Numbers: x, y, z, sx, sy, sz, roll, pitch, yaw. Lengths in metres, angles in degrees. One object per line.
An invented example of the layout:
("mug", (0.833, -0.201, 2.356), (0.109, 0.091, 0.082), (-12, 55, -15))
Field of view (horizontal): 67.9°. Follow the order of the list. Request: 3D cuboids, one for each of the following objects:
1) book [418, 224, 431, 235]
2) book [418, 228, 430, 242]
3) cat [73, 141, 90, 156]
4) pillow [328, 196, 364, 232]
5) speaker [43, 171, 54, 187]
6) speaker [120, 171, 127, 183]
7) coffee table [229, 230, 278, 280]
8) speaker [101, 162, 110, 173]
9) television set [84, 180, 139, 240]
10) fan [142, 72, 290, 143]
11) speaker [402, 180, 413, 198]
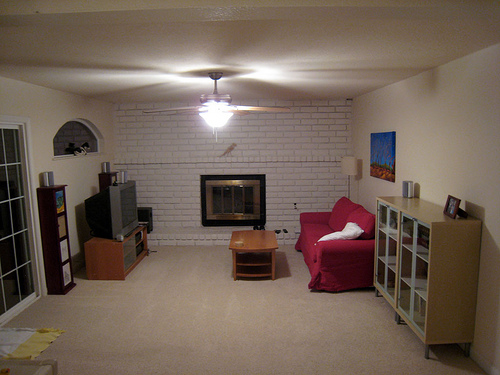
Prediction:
("book", (1.766, 0.425, 3.784), (0.026, 0.054, 0.109), (1, 10, -18))
("book", (1.769, 0.484, 3.793), (0.024, 0.085, 0.095), (-5, 19, -15))
("cat", (-2.805, -0.642, 6.179), (0.170, 0.239, 0.541), (-1, 5, -14))
("pillow", (1.512, 0.437, 6.199), (0.405, 0.476, 0.741), (4, 5, 4))
("speaker", (-2.787, -0.113, 5.108), (0.087, 0.193, 0.212), (-1, 3, 3))
("speaker", (-2.030, -0.155, 5.910), (0.098, 0.154, 0.182), (0, 5, 0))
("coffee table", (0.037, 1.053, 5.843), (0.698, 0.579, 0.851), (0, 5, 0))
("speaker", (-2.560, -0.343, 6.498), (0.191, 0.176, 0.100), (3, 7, 26))
("television set", (-2.163, 0.323, 6.068), (0.864, 1.030, 1.168), (1, 9, 2))
("fan", (-0.342, -0.952, 4.500), (1.718, 0.771, 1.799), (-2, 9, -8))
("speaker", (2.017, 0.026, 4.762), (0.099, 0.206, 0.163), (1, 6, 8))
